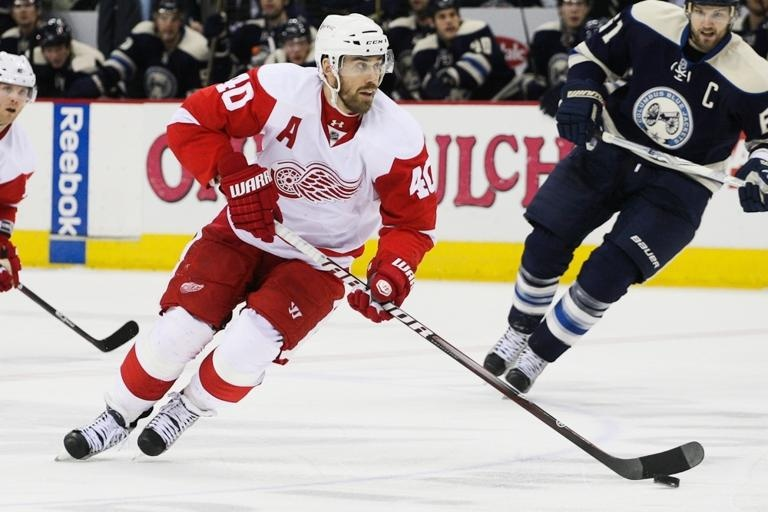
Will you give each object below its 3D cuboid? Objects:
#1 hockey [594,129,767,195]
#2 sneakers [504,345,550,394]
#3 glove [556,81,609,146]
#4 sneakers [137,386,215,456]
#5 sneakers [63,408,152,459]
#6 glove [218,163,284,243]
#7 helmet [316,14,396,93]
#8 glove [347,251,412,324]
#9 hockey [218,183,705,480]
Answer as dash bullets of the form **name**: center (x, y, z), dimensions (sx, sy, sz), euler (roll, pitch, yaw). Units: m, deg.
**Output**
- **hockey**: center (1.229, -0.393, 4.113), dimensions (0.663, 0.053, 0.087), euler (19, 28, 13)
- **sneakers**: center (0.606, 0.501, 4.210), dimensions (0.106, 0.136, 0.347), euler (39, 13, 3)
- **glove**: center (0.852, -0.598, 4.207), dimensions (0.224, 0.267, 0.126), euler (2, -5, 35)
- **sneakers**: center (-0.757, 0.594, 3.416), dimensions (0.127, 0.129, 0.320), euler (48, 32, -4)
- **sneakers**: center (-0.987, 0.626, 3.471), dimensions (0.110, 0.112, 0.294), euler (42, 37, 13)
- **glove**: center (-0.496, -0.184, 3.529), dimensions (0.194, 0.285, 0.098), euler (0, 12, -8)
- **helmet**: center (-0.089, -0.699, 3.603), dimensions (0.251, 0.258, 0.307), euler (0, -8, -36)
- **glove**: center (-0.010, 0.115, 3.594), dimensions (0.201, 0.262, 0.124), euler (42, -23, -15)
- **hockey**: center (0.329, 0.353, 4.106), dimensions (2.113, 0.240, 0.284), euler (29, -21, 20)
